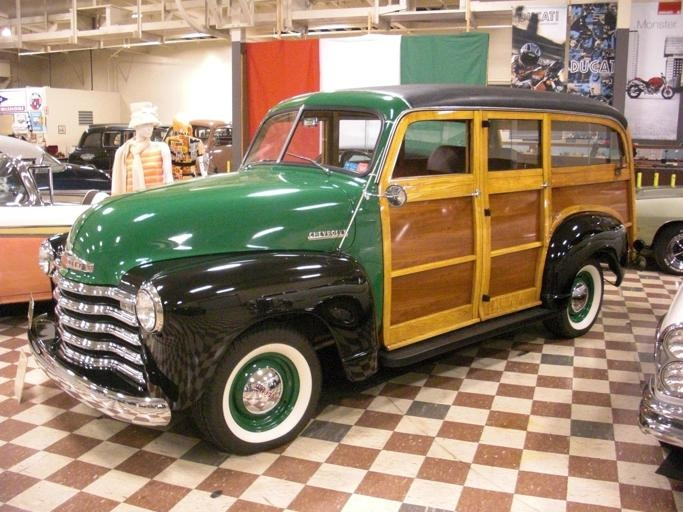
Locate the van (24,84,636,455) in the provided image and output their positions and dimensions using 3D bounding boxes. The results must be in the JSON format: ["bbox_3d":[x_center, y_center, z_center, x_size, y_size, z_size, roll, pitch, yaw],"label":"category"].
[{"bbox_3d":[0.376,-0.084,3.949,4.757,1.621,2.386,-4,8,-28],"label":"van"}]
